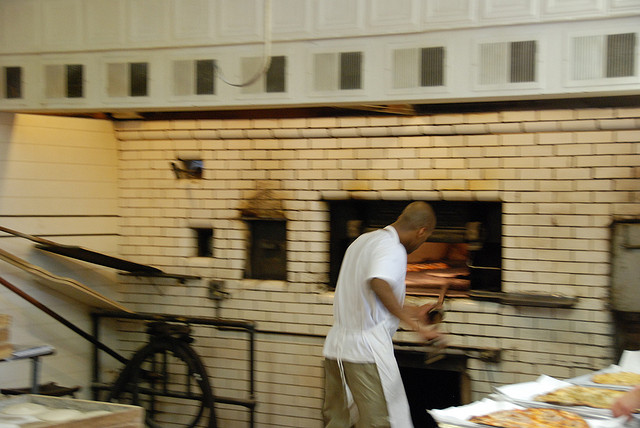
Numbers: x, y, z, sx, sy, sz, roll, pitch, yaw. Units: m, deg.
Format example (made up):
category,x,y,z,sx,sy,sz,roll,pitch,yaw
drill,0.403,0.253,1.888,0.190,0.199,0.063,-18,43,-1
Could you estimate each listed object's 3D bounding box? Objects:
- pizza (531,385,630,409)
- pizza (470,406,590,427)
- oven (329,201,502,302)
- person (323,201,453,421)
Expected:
category,x,y,z,sx,sy,sz,roll,pitch,yaw
pizza,1.557,1.087,4.173,0.516,0.099,0.264,-2,-6,16
pizza,1.191,1.154,3.978,0.638,0.088,0.194,1,-6,-14
oven,0.945,0.261,6.297,2.021,0.751,1.043,0,-2,19
person,0.432,0.736,5.275,0.927,1.687,0.483,-2,-9,12
